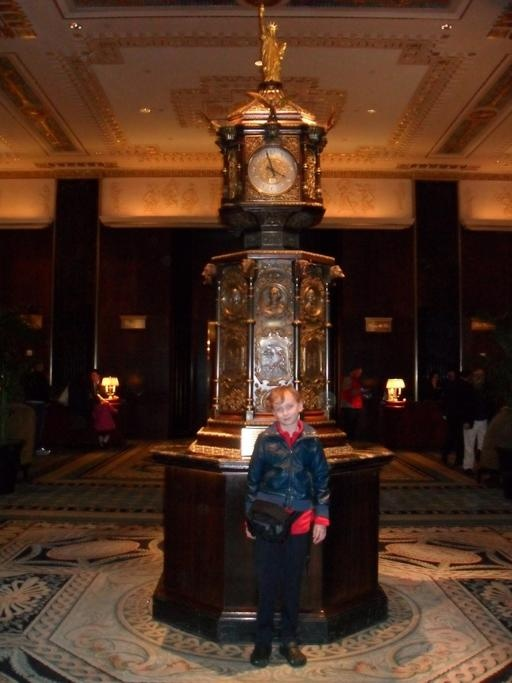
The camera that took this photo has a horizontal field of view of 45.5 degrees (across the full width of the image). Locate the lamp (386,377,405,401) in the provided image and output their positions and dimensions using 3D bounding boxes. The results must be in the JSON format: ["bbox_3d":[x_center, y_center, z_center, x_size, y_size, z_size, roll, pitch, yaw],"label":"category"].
[{"bbox_3d":[2.842,0.998,12.537,0.326,0.501,1.309,1,-4,12],"label":"lamp"}]

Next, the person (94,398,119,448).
[{"bbox_3d":[-2.803,1.512,11.356,0.411,0.939,0.585,3,-5,-12],"label":"person"}]

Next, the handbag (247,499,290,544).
[{"bbox_3d":[0.057,0.758,2.668,0.175,0.139,0.172,6,13,37],"label":"handbag"}]

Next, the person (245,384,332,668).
[{"bbox_3d":[0.139,0.839,2.804,0.328,1.252,0.475,-3,-7,44],"label":"person"}]

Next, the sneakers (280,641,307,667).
[{"bbox_3d":[0.168,1.407,2.739,0.064,0.057,0.144,2,-16,-14],"label":"sneakers"}]

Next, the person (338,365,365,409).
[{"bbox_3d":[1.717,0.842,10.874,0.398,0.733,0.776,1,-4,8],"label":"person"}]

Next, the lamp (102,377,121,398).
[{"bbox_3d":[-2.816,0.903,11.732,0.284,0.390,0.483,3,-5,-16],"label":"lamp"}]
